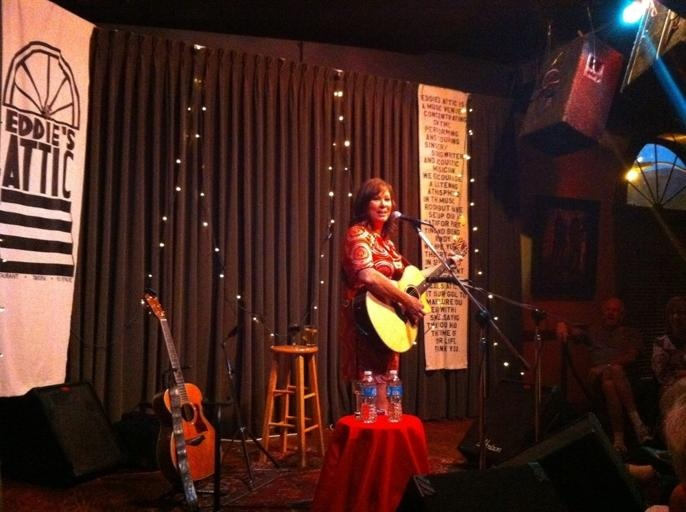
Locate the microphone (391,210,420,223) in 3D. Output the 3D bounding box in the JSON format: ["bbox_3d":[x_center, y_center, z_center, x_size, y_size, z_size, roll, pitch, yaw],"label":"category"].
[{"bbox_3d":[0.458,-0.273,4.564,0.196,0.102,0.351,-2,-3,0],"label":"microphone"}]

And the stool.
[{"bbox_3d":[-0.420,1.166,5.227,0.477,0.923,0.486,-4,10,-43],"label":"stool"}]

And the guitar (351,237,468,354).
[{"bbox_3d":[0.476,0.349,4.496,0.770,0.690,0.383,1,-3,-35],"label":"guitar"}]

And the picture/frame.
[{"bbox_3d":[2.453,-0.082,6.933,0.926,1.500,0.142,3,-1,-5],"label":"picture/frame"}]

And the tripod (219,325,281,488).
[{"bbox_3d":[-0.752,1.146,5.062,0.440,1.158,1.331,-1,-3,-12],"label":"tripod"}]

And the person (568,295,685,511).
[{"bbox_3d":[2.697,1.156,5.720,1.108,0.936,1.553,18,3,17],"label":"person"}]

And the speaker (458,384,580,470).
[{"bbox_3d":[1.401,1.298,4.905,0.904,0.612,0.559,8,-13,-36],"label":"speaker"}]

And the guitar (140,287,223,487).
[{"bbox_3d":[-1.198,0.959,4.604,0.492,1.432,0.691,0,-3,-18],"label":"guitar"}]
